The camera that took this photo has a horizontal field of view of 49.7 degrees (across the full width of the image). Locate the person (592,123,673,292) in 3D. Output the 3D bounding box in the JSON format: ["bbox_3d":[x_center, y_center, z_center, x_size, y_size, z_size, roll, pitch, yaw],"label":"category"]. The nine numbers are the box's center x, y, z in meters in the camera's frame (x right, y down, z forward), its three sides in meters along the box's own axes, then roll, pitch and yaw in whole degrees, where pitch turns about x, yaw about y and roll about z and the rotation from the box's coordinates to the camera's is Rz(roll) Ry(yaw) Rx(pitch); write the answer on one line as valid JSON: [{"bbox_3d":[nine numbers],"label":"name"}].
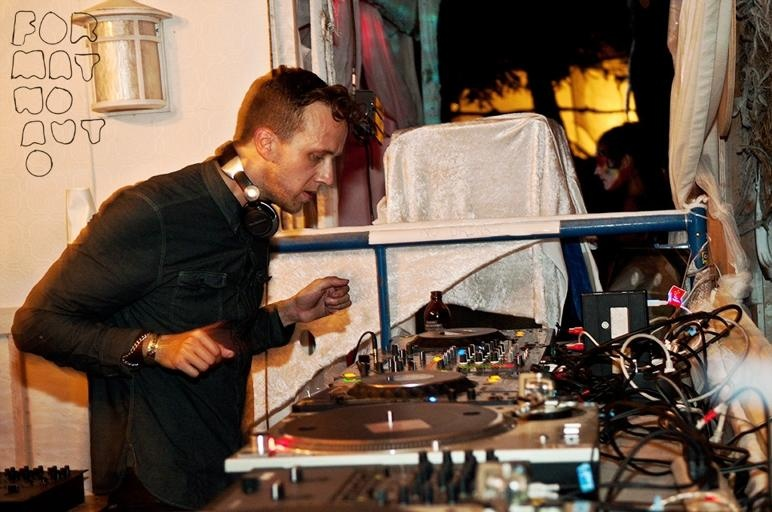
[{"bbox_3d":[1.825,-0.416,6.281,0.567,1.330,0.717,-5,-1,19],"label":"person"}]

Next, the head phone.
[{"bbox_3d":[-0.538,-0.204,3.185,0.141,0.344,0.349,-17,-2,-16],"label":"head phone"}]

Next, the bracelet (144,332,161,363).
[{"bbox_3d":[-0.802,0.315,2.856,0.056,0.084,0.085,14,37,3],"label":"bracelet"}]
